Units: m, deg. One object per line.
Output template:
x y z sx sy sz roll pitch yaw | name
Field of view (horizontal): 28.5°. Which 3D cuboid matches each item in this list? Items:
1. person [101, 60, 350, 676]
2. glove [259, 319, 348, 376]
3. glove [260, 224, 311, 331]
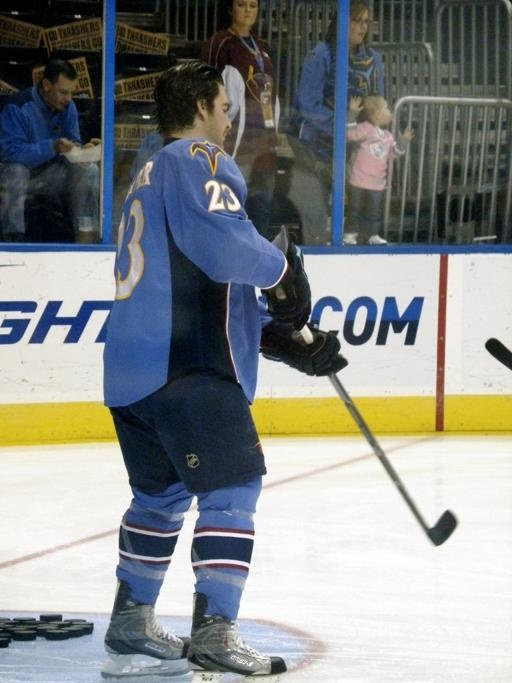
-0.118 0.064 2.239 0.457 1.364 0.477 1 4 8 | person
0.110 0.007 2.451 0.198 0.124 0.088 18 3 2 | glove
0.055 -0.143 2.256 0.079 0.109 0.254 -28 31 11 | glove
